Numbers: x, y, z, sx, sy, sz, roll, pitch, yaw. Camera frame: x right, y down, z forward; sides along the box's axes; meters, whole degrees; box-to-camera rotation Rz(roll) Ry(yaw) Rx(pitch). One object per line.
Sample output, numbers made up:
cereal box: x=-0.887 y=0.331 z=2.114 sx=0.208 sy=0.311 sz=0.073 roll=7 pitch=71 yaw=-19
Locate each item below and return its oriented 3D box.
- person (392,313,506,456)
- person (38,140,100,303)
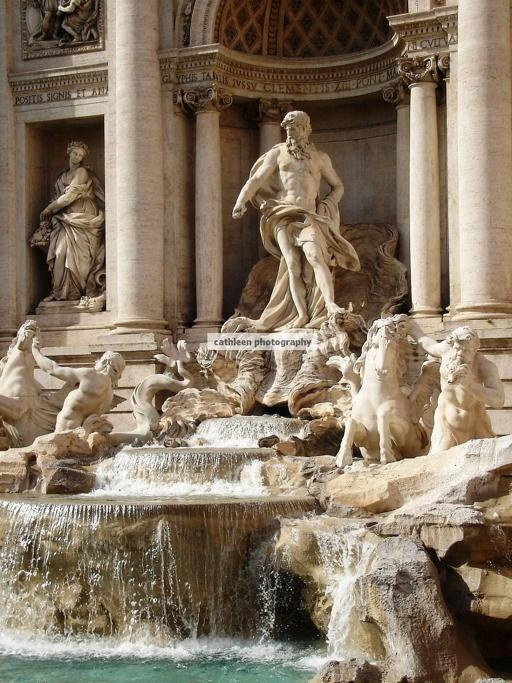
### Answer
person: x=1.919 y=0.475 z=8.798 sx=1.005 sy=1.901 sz=0.634 roll=13 pitch=37 yaw=28
person: x=-3.085 y=-2.005 z=14.797 sx=1.110 sy=2.698 sz=0.516 roll=-1 pitch=0 yaw=-2
